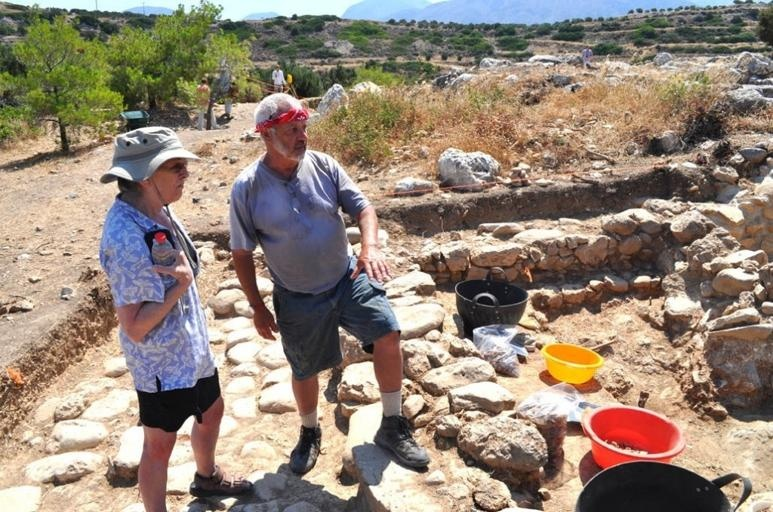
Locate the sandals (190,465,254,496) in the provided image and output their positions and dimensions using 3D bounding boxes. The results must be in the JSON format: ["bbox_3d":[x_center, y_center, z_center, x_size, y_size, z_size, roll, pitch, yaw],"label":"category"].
[{"bbox_3d":[-1.608,2.165,6.718,0.603,0.242,0.242,0,8,-11],"label":"sandals"}]

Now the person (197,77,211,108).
[{"bbox_3d":[-4.366,-3.885,16.353,0.258,0.711,0.828,-7,22,-17],"label":"person"}]

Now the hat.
[{"bbox_3d":[-2.097,-0.856,6.078,0.663,0.271,0.528,-14,13,-26],"label":"hat"}]

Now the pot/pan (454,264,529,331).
[{"bbox_3d":[1.260,0.589,8.512,0.856,0.621,0.882,16,25,31],"label":"pot/pan"}]

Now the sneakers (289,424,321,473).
[{"bbox_3d":[-0.826,1.901,6.940,0.300,0.246,0.605,13,25,1],"label":"sneakers"}]

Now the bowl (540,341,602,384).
[{"bbox_3d":[2.092,1.230,7.890,0.682,0.237,0.676,6,17,-2],"label":"bowl"}]
